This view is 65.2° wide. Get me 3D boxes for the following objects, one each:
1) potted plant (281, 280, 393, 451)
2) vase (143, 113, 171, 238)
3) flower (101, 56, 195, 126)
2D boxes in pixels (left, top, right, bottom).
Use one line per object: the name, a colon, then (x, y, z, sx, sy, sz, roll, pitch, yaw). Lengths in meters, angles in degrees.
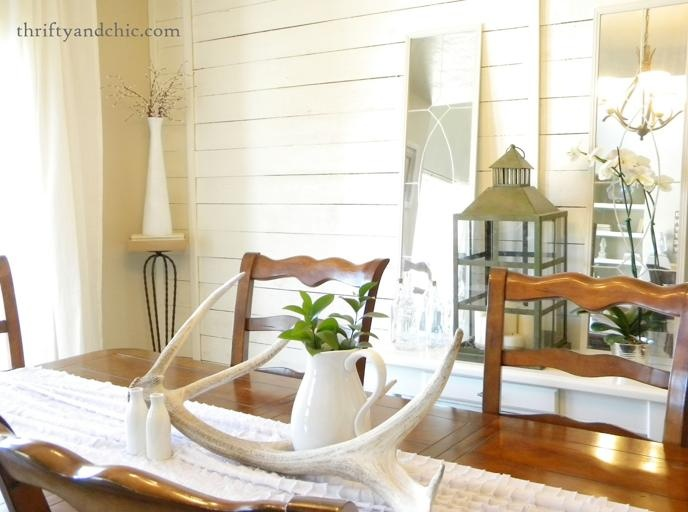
potted plant: (-0.014, 0.230, 1.063, 0.224, 0.345, 0.260, 0, 6, -7)
vase: (-1.165, -0.484, 3.326, 0.174, 0.731, 0.230, -1, 6, -21)
flower: (-1.232, -1.010, 3.350, 0.395, 0.265, 0.388, 5, 15, 26)
